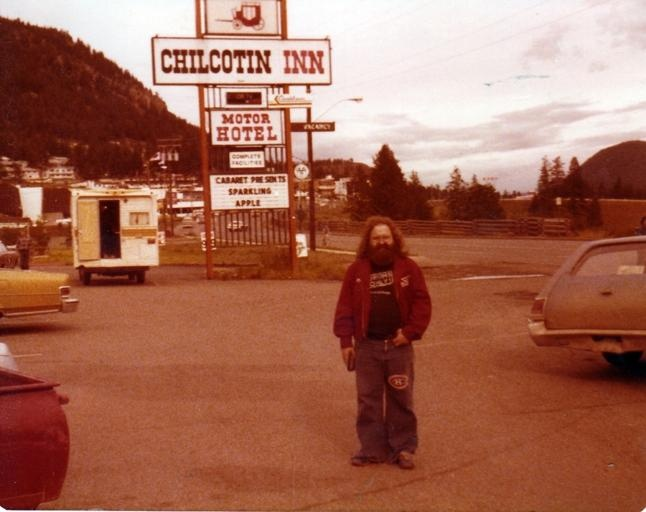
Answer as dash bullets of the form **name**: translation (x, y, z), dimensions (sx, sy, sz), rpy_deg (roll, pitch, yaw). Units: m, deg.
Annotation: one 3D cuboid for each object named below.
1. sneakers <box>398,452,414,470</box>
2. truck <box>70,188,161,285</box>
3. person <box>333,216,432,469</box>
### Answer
- **sneakers**: translation (0.685, 1.676, 4.726), dimensions (0.140, 0.104, 0.150), rpy_deg (0, 2, 9)
- **truck**: translation (-8.047, -0.974, 23.053), dimensions (2.655, 3.320, 5.091), rpy_deg (0, 2, -13)
- **person**: translation (0.503, 0.701, 4.907), dimensions (0.814, 2.056, 0.456), rpy_deg (0, 1, 10)
